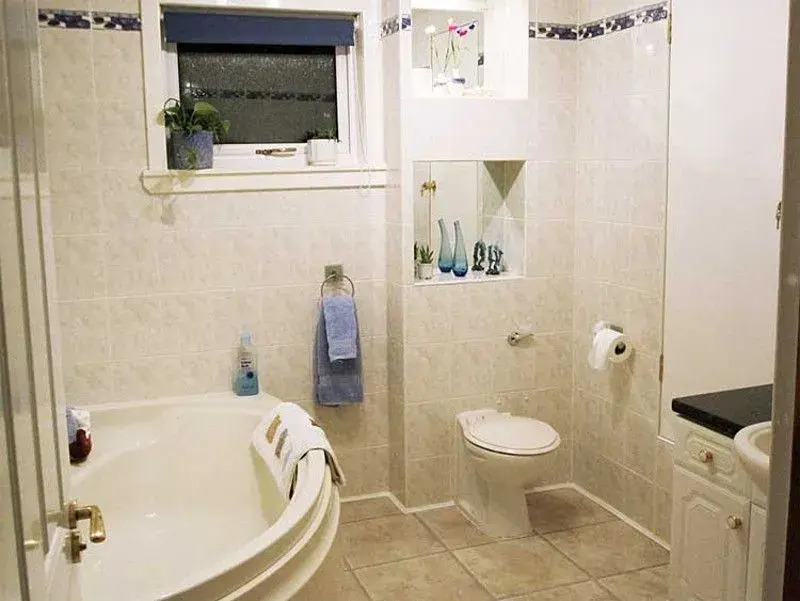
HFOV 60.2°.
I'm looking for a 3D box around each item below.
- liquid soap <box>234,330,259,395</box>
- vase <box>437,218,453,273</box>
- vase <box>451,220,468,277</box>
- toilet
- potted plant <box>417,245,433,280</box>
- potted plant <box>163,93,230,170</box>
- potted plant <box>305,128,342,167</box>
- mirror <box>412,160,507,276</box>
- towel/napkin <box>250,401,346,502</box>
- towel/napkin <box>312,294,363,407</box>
[{"bbox_3d":[-0.816,0.320,3.628,0.134,0.318,0.145,-4,14,-14],"label":"liquid soap"},{"bbox_3d":[0.260,-0.320,3.954,0.083,0.297,0.203,0,13,2],"label":"vase"},{"bbox_3d":[0.328,-0.301,3.931,0.079,0.289,0.228,-1,13,-4],"label":"vase"},{"bbox_3d":[0.518,0.908,3.679,0.464,0.491,0.607,-4,13,-17],"label":"toilet"},{"bbox_3d":[0.140,-0.229,3.930,0.094,0.164,0.273,0,13,2],"label":"potted plant"},{"bbox_3d":[-1.040,-0.883,3.639,0.372,0.395,0.386,-3,21,-16],"label":"potted plant"},{"bbox_3d":[-0.425,-0.848,3.779,0.182,0.197,0.216,-2,13,-5],"label":"potted plant"},{"bbox_3d":[0.329,-0.494,3.967,0.604,0.881,0.042,-2,5,-19],"label":"mirror"},{"bbox_3d":[-0.462,0.615,3.088,0.292,0.236,0.608,-5,15,-21],"label":"towel/napkin"},{"bbox_3d":[-0.341,0.278,3.735,0.270,0.623,0.253,-2,13,-4],"label":"towel/napkin"}]
